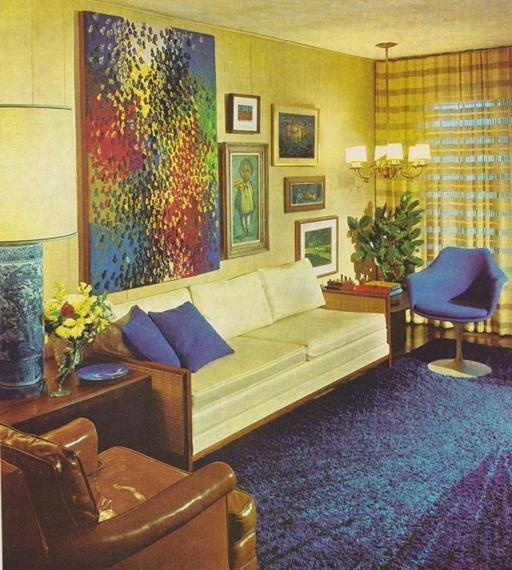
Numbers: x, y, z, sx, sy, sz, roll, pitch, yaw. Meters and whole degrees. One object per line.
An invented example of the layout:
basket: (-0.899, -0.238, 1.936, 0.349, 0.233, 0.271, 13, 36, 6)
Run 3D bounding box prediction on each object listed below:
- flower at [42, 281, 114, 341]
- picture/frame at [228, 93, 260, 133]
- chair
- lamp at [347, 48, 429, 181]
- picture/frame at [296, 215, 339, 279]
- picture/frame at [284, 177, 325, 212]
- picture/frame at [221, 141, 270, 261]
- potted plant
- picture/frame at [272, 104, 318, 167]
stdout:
flower: (-0.874, 0.116, 2.473, 0.286, 0.302, 0.282, -9, 20, -32)
picture/frame: (-0.090, -1.458, 4.166, 0.037, 0.298, 0.395, 11, 20, 30)
chair: (1.872, 0.248, 4.641, 0.941, 1.387, 0.859, 4, 9, 34)
lamp: (1.367, -1.815, 5.198, 0.918, 1.361, 1.152, 3, 9, 31)
picture/frame: (0.644, -0.396, 5.213, 0.033, 0.646, 0.627, 1, -2, -36)
picture/frame: (0.486, -0.916, 4.924, 0.560, 0.343, 0.021, -12, 16, -39)
picture/frame: (-0.097, -0.738, 4.255, 0.060, 0.969, 0.604, 4, 10, 39)
potted plant: (1.482, -0.556, 5.864, 0.918, 1.199, 0.929, 2, 9, 22)
picture/frame: (0.376, -1.439, 4.751, 0.049, 0.589, 0.679, 11, 18, 42)
